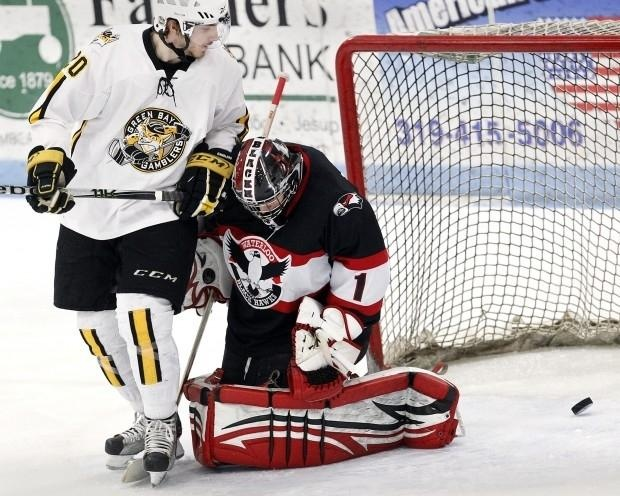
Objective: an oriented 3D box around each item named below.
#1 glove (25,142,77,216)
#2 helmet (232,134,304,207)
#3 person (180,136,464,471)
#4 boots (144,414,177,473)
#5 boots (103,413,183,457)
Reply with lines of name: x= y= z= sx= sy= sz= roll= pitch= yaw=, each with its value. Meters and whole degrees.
glove: x=-0.841 y=-0.222 z=2.609 sx=0.187 sy=0.202 sz=0.097 roll=-5 pitch=-18 yaw=13
helmet: x=-0.159 y=-0.251 z=2.647 sx=0.252 sy=0.205 sz=0.255 roll=-6 pitch=50 yaw=7
person: x=-0.027 y=0.164 z=2.693 sx=0.904 sy=1.085 sz=0.486 roll=-9 pitch=14 yaw=-3
boots: x=-0.467 y=0.631 z=2.572 sx=0.081 sy=0.078 sz=0.221 roll=-2 pitch=23 yaw=-2
boots: x=-0.609 y=0.646 z=2.762 sx=0.076 sy=0.120 sz=0.243 roll=16 pitch=4 yaw=41
